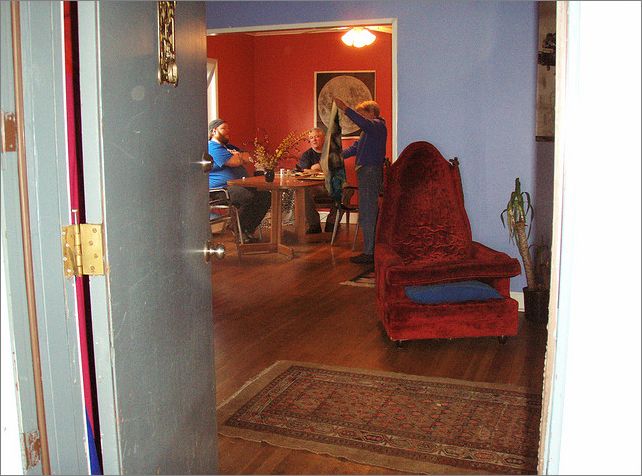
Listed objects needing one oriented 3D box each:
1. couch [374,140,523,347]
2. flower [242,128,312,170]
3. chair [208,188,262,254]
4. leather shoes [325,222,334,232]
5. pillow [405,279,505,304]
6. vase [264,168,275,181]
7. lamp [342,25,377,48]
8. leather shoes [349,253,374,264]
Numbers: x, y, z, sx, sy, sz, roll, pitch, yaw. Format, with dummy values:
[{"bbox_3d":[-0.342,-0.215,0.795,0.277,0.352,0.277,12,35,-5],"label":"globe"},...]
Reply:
[{"bbox_3d":[0.801,-0.010,3.835,0.858,1.272,0.980,-5,10,-10],"label":"couch"},{"bbox_3d":[-0.624,-1.261,7.928,0.956,0.686,0.952,-4,5,-16],"label":"flower"},{"bbox_3d":[-1.020,-0.277,6.727,0.510,0.801,1.770,-2,11,-6],"label":"chair"},{"bbox_3d":[0.117,-0.152,8.010,0.141,0.148,0.109,2,-3,-25],"label":"leather shoes"},{"bbox_3d":[0.837,0.345,3.565,0.385,0.085,0.241,-3,17,-7],"label":"pillow"},{"bbox_3d":[-0.584,-0.729,6.497,0.127,0.161,0.129,-9,19,-29],"label":"vase"},{"bbox_3d":[0.537,-2.884,7.963,0.396,0.227,0.276,3,11,18],"label":"lamp"},{"bbox_3d":[0.448,0.229,6.075,0.262,0.128,0.099,3,1,11],"label":"leather shoes"}]
